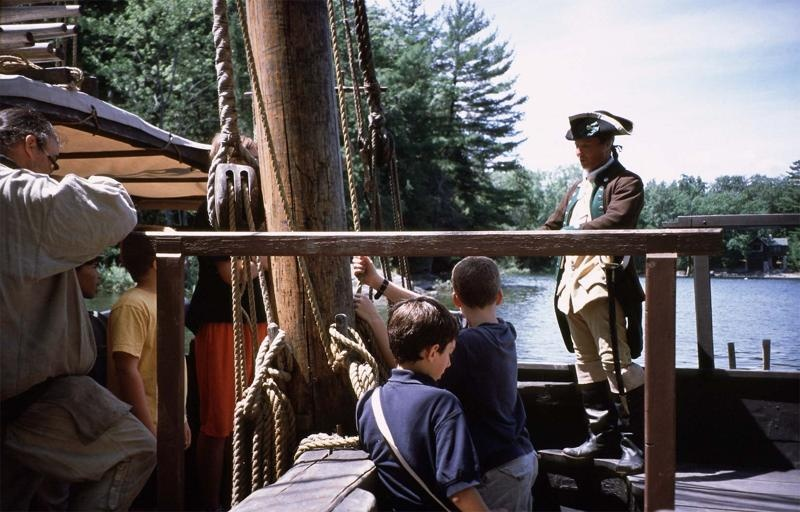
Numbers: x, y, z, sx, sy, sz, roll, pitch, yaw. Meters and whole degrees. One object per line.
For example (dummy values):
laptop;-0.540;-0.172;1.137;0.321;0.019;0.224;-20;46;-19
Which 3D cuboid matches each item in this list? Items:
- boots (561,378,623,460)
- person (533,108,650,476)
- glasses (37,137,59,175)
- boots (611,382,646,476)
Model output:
boots;1.352;1.120;5.101;0.504;0.632;0.312;-1;-10;16
person;1.298;0.235;5.352;0.835;2.527;0.831;-1;1;-25
glasses;-1.919;-0.556;4.126;0.140;0.044;0.152;21;-37;14
boots;1.535;1.146;5.022;0.178;0.499;0.419;3;2;17
